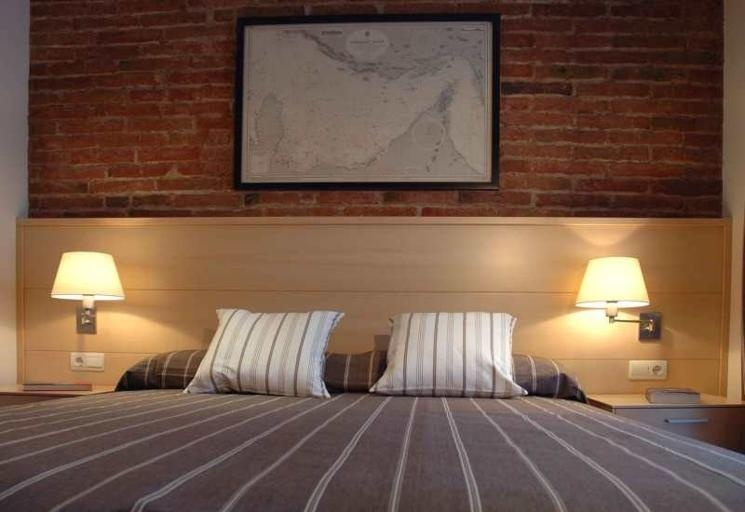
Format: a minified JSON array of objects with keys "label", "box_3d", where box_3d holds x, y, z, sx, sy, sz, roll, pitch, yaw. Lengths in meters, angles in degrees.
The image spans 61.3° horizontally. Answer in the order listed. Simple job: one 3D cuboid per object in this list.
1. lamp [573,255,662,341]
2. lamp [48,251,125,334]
[{"label":"lamp","box_3d":[1.508,0.280,3.907,0.534,0.486,0.400,4,-9,-15]},{"label":"lamp","box_3d":[-1.819,0.241,4.018,0.461,0.524,0.457,-2,-4,42]}]
